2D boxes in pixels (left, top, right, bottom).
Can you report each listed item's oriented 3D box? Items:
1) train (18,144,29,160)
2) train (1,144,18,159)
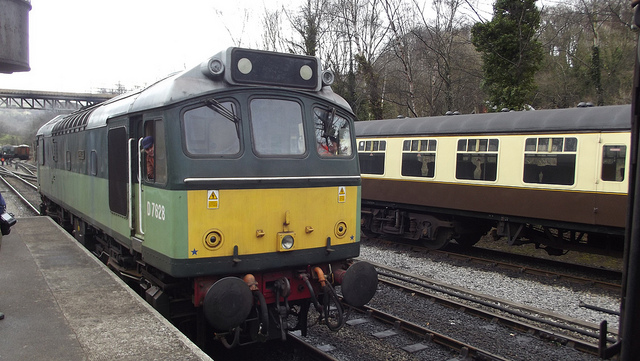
[{"bbox_3d":[-49.000,-4.604,67.734,1.620,2.277,1.489,-8,9,-38],"label":"train"},{"bbox_3d":[-49.624,-4.531,65.250,1.520,2.195,3.566,-5,7,-18],"label":"train"}]
